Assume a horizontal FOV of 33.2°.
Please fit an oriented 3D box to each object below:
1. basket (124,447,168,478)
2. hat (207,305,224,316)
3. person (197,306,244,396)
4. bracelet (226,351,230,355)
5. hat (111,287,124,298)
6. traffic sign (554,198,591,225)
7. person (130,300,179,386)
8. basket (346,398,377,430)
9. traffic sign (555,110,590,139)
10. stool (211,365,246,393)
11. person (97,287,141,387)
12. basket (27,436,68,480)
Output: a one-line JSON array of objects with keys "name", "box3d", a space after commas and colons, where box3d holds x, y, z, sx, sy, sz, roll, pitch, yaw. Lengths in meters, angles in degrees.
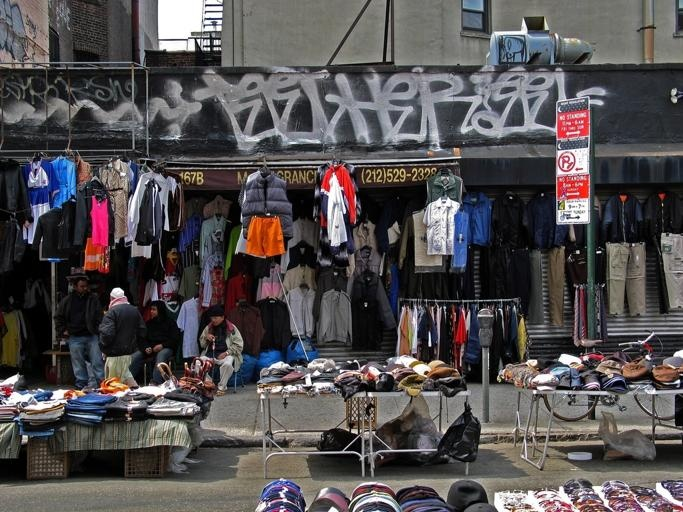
[{"name": "basket", "box3d": [-3.156, 3.367, 18.494, 0.501, 0.509, 0.525, 0, -2, 1]}, {"name": "hat", "box3d": [-2.481, 1.091, 22.831, 0.305, 0.234, 0.231, -1, -4, -8]}, {"name": "person", "box3d": [-2.414, 1.871, 22.858, 0.943, 1.672, 1.058, 2, 1, -18]}, {"name": "bracelet", "box3d": [-2.242, 1.944, 22.804, 0.071, 0.071, 0.017, 2, -7, -10]}, {"name": "hat", "box3d": [-4.216, 0.698, 21.618, 0.186, 0.162, 0.266, 1, 3, -17]}, {"name": "traffic sign", "box3d": [4.217, -0.820, 20.734, 0.525, 0.473, 0.071, -1, -5, 30]}, {"name": "person", "box3d": [-3.690, 1.739, 22.944, 0.811, 1.853, 0.846, -1, -1, 8]}, {"name": "basket", "box3d": [0.365, 2.650, 19.168, 0.519, 0.718, 0.389, -2, -9, 20]}, {"name": "traffic sign", "box3d": [4.246, -2.397, 20.807, 0.519, 0.484, 0.074, 3, 5, 33]}, {"name": "stool", "box3d": [-2.286, 2.544, 23.304, 0.596, 0.624, 0.514, 0, -8, 5]}, {"name": "person", "box3d": [-4.192, 1.523, 21.764, 0.762, 1.942, 0.802, 0, 5, -16]}, {"name": "basket", "box3d": [-4.767, 3.354, 18.694, 0.768, 0.832, 0.605, 0, -5, -6]}]
